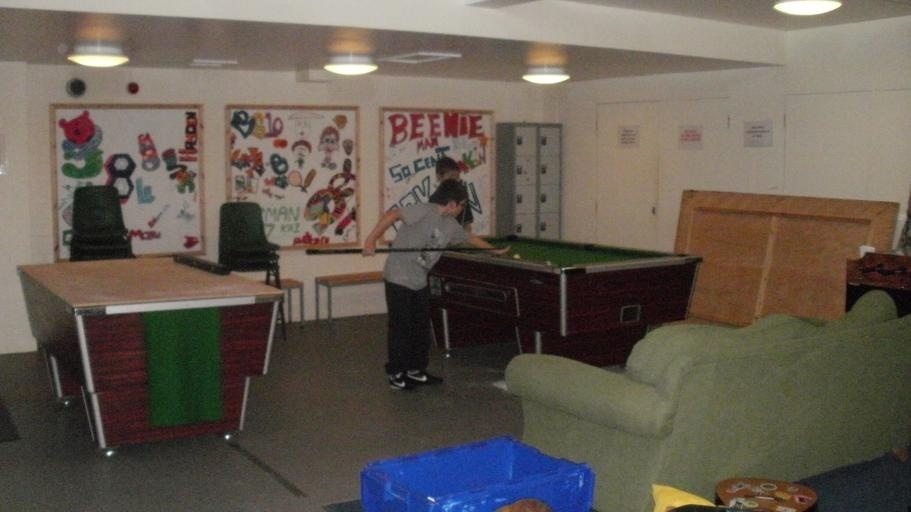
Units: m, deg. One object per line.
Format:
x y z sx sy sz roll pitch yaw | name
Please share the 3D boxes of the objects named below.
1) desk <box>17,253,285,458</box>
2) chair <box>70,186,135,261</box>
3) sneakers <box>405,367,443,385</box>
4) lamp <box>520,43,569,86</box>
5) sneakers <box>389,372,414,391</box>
-3.155 0.783 6.329 1.766 1.015 2.544 -6 13 -40 | desk
-4.507 -0.385 8.171 0.952 0.993 0.986 -1 -3 -29 | chair
-0.352 1.307 6.942 0.317 0.089 0.195 1 3 23 | sneakers
1.182 -2.474 8.444 0.654 0.385 0.635 7 13 34 | lamp
-0.577 1.360 6.848 0.130 0.113 0.316 -2 -2 -36 | sneakers
